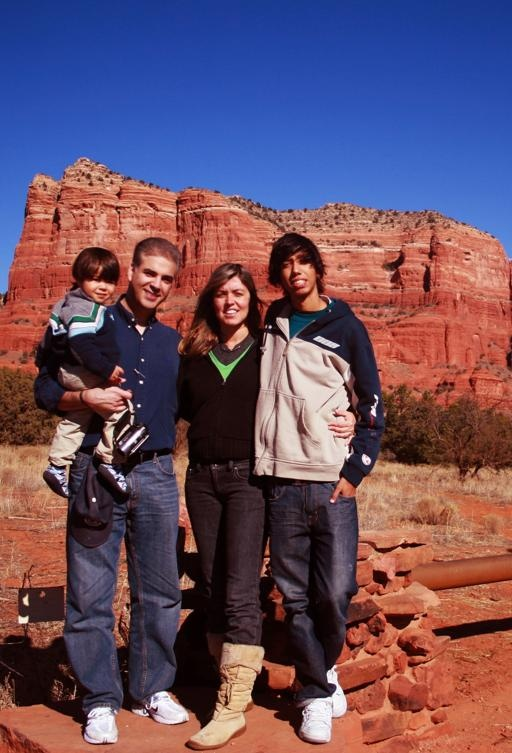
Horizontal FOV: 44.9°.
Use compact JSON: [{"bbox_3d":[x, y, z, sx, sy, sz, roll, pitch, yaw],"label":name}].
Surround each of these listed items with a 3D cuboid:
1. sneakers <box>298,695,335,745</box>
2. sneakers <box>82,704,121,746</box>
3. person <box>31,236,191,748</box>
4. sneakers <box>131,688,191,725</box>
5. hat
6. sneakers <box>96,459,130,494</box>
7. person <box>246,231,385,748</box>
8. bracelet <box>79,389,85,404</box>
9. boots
[{"bbox_3d":[0.263,1.510,2.714,0.141,0.164,0.186,3,-4,8],"label":"sneakers"},{"bbox_3d":[-0.655,1.471,2.631,0.144,0.121,0.213,5,-4,-12],"label":"sneakers"},{"bbox_3d":[-0.631,0.446,2.903,0.723,2.323,0.627,6,-4,-23],"label":"person"},{"bbox_3d":[-0.440,1.532,2.855,0.253,0.112,0.108,-8,-15,32],"label":"sneakers"},{"bbox_3d":[-0.750,0.577,2.788,0.196,0.398,0.168,4,-4,-1],"label":"hat"},{"bbox_3d":[-0.633,0.460,2.800,0.052,0.150,0.111,-29,27,7],"label":"sneakers"},{"bbox_3d":[0.254,0.435,2.917,0.620,2.305,0.391,3,-4,18],"label":"person"},{"bbox_3d":[-0.807,0.099,2.863,0.023,0.064,0.086,5,-4,-15],"label":"bracelet"},{"bbox_3d":[-0.129,1.357,2.654,0.169,0.371,0.341,2,-4,25],"label":"boots"}]
